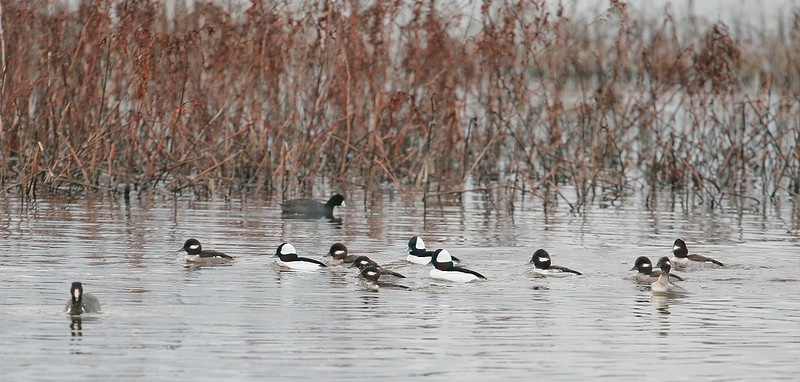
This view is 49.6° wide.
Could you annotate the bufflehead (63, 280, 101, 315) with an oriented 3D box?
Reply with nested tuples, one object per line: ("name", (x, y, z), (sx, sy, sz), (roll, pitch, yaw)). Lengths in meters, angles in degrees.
("bufflehead", (-6.566, 2.006, 18.044), (0.393, 0.608, 1.083), (-2, 3, -11))
